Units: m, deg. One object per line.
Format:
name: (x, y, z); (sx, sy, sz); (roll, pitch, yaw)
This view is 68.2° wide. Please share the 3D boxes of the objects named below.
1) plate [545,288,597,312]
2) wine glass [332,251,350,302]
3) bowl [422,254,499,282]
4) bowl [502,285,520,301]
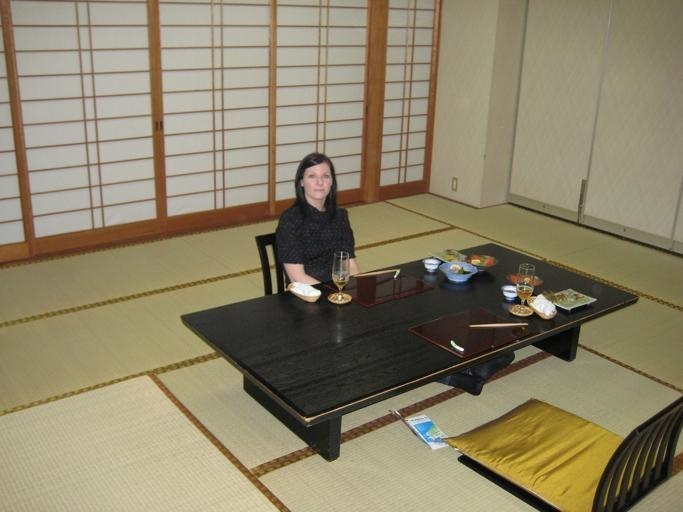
plate: (1.210, 0.237, 2.676); (0.168, 0.029, 0.155); (-15, 30, -27)
wine glass: (-0.007, 0.113, 2.484); (0.156, 0.246, 0.138); (-1, 40, -4)
bowl: (0.651, 0.078, 2.873); (0.219, 0.050, 0.199); (4, 21, -1)
bowl: (0.889, 0.203, 2.675); (0.086, 0.035, 0.083); (0, 23, 0)
